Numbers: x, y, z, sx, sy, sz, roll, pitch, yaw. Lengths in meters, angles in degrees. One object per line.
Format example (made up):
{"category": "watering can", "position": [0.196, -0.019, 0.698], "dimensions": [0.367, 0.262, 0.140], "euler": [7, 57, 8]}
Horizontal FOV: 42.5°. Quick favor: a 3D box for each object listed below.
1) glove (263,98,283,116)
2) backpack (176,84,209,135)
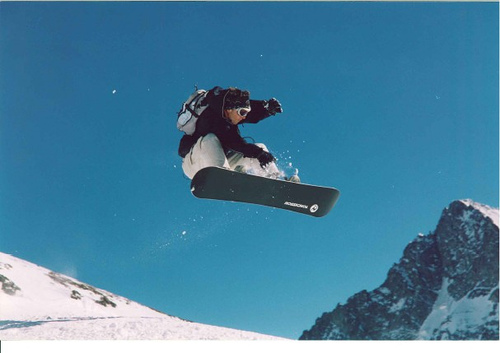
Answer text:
{"category": "glove", "position": [0.498, -1.433, 13.422], "dimensions": [0.431, 0.341, 0.302], "euler": [-8, 29, -41]}
{"category": "backpack", "position": [-1.153, -1.331, 13.314], "dimensions": [0.603, 0.991, 0.431], "euler": [14, 22, 6]}
